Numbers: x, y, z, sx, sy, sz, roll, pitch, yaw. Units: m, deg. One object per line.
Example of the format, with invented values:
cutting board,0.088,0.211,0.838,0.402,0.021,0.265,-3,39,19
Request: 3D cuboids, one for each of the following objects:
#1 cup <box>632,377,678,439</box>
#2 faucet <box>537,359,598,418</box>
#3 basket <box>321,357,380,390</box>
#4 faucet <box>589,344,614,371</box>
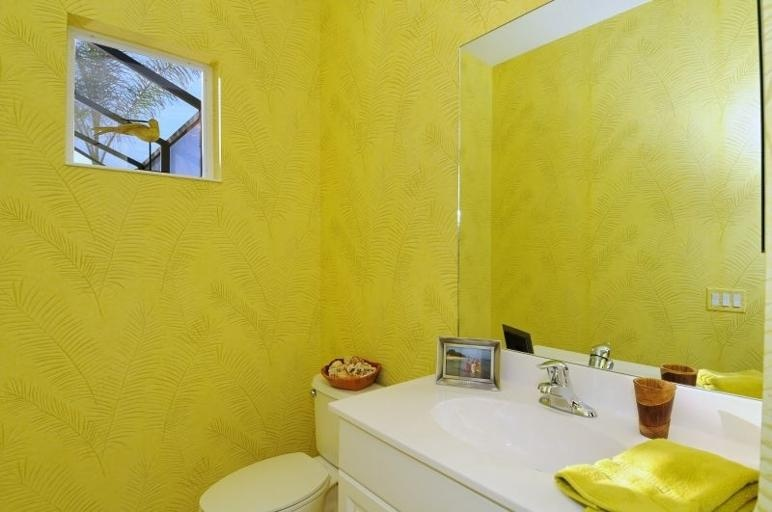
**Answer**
cup,0.895,0.510,1.911,0.112,0.183,0.117,-3,5,0
faucet,0.635,0.479,2.065,0.111,0.193,0.262,-1,1,-45
basket,-0.156,0.547,2.716,0.176,0.065,0.176,0,-2,17
faucet,0.788,0.365,2.105,0.054,0.103,0.102,3,-15,23
